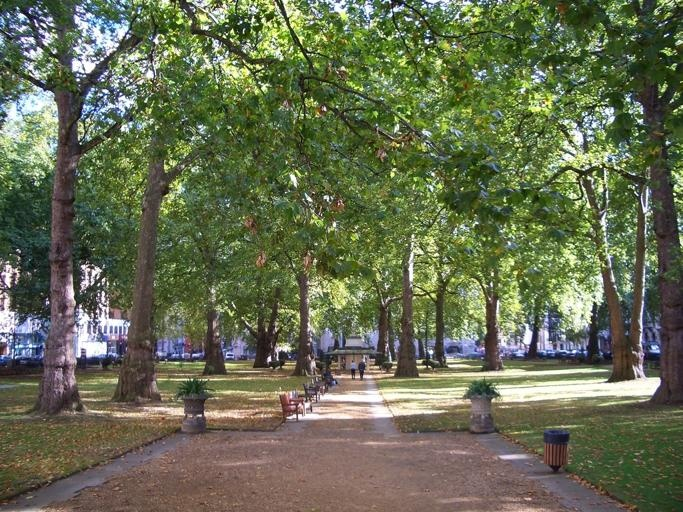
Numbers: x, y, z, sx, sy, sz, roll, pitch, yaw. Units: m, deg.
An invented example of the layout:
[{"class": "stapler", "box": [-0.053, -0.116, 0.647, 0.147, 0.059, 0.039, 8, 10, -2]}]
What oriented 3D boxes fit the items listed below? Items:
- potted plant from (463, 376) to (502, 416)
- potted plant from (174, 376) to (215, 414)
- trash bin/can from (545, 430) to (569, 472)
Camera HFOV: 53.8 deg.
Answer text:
[{"class": "potted plant", "box": [4.430, 4.407, 21.386, 0.931, 1.030, 0.889, -2, -4, 27]}, {"class": "potted plant", "box": [-4.786, 4.583, 21.963, 0.911, 1.129, 1.565, 2, -12, -9]}, {"class": "trash bin/can", "box": [5.109, 4.669, 16.018, 0.507, 0.952, 0.295, -1, -10, 6]}]
